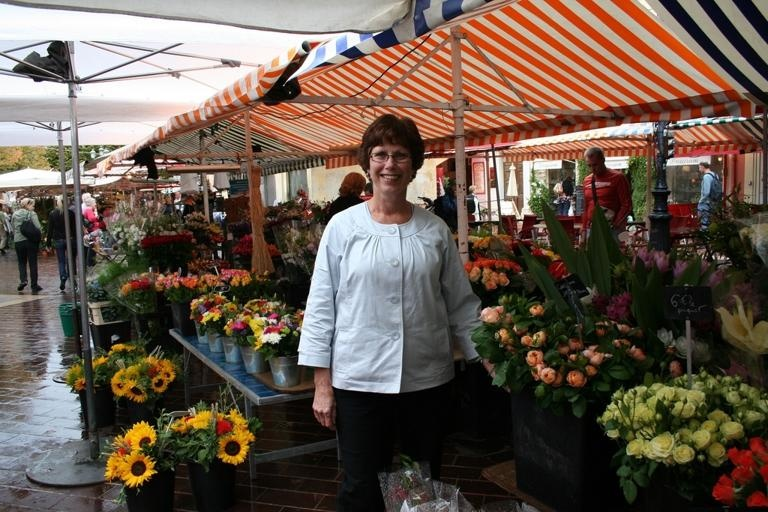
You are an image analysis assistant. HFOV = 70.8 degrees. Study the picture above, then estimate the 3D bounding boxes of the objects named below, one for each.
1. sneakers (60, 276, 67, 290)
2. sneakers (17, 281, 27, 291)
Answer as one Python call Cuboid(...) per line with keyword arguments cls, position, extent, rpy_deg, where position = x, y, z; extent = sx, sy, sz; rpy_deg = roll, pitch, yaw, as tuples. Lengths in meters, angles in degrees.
Cuboid(cls="sneakers", position=(-7.573, 0.645, 12.911), extent=(0.108, 0.303, 0.135), rpy_deg=(16, 4, -29))
Cuboid(cls="sneakers", position=(-8.668, 0.726, 13.106), extent=(0.098, 0.109, 0.257), rpy_deg=(25, -50, -40))
